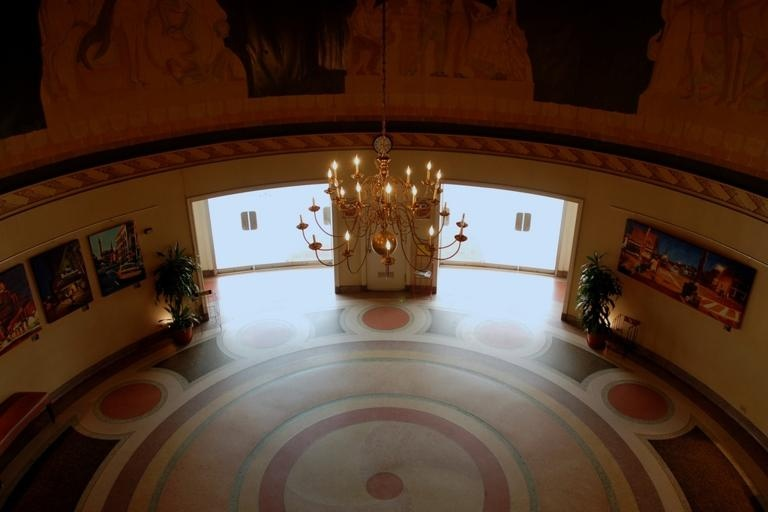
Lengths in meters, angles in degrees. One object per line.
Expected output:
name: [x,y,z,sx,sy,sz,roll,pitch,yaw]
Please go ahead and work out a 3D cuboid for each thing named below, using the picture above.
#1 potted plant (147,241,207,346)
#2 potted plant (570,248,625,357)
potted plant: [-5.400,0.992,10.941,1.133,2.620,1.117,-5,7,-5]
potted plant: [5.356,1.167,10.426,0.858,2.445,0.903,3,10,44]
